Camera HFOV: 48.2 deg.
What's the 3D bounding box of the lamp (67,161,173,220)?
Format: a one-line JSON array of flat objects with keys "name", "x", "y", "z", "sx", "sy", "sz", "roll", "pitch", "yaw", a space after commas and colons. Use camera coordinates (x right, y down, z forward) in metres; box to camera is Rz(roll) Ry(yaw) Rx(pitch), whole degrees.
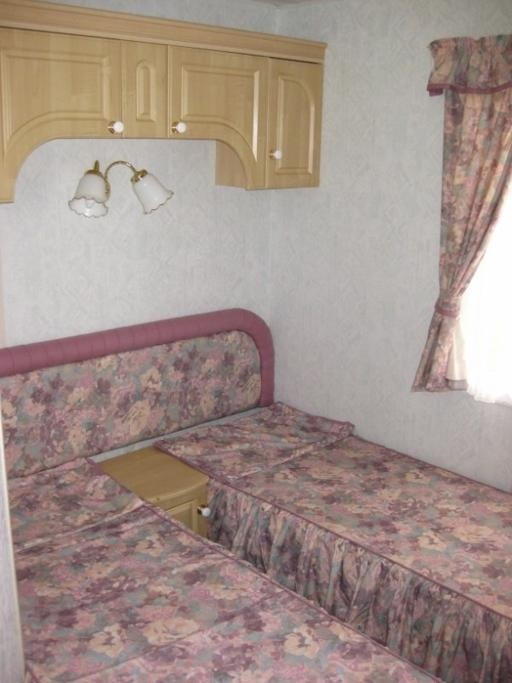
[{"name": "lamp", "x": -0.589, "y": -0.682, "z": 2.447, "sx": 0.424, "sy": 0.225, "sz": 0.152, "roll": 3, "pitch": 28, "yaw": 8}]
